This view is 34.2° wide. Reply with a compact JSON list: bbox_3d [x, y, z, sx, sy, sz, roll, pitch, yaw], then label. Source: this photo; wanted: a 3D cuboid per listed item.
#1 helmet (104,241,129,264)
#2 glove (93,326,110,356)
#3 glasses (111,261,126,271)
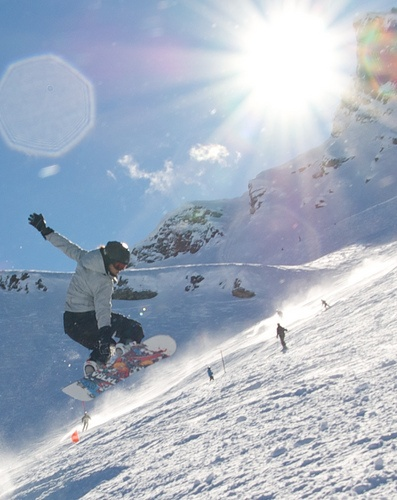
[{"bbox_3d":[-1.738,0.063,13.720,0.552,0.528,0.331,-1,11,-8],"label":"helmet"},{"bbox_3d":[-1.978,1.907,13.590,0.250,0.583,0.248,-1,11,-6],"label":"glove"},{"bbox_3d":[-1.703,0.344,13.779,0.233,0.156,0.196,-31,-10,31],"label":"glasses"}]
